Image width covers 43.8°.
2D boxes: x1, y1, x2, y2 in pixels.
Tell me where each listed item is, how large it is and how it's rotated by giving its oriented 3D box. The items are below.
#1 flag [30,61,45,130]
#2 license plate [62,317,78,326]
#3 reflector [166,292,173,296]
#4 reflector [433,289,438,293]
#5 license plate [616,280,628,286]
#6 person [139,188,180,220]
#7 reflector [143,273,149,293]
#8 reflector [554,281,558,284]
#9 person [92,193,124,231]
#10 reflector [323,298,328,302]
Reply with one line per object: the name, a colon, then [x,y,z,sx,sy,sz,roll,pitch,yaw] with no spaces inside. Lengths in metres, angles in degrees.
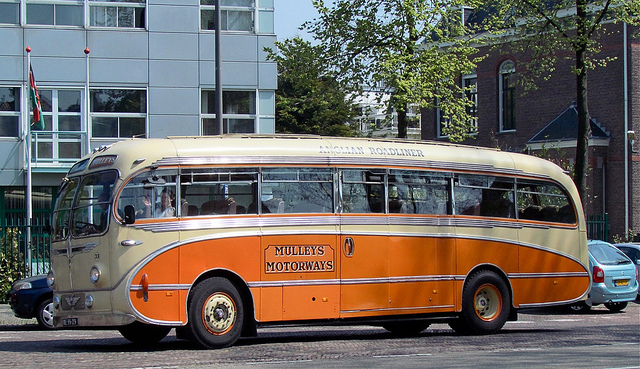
flag: [-12.635,-3.960,35.743,0.546,2.987,2.197,-2,0,-19]
license plate: [-7.204,3.971,23.075,0.604,0.252,0.030,-2,0,28]
reflector: [-4.275,3.122,22.758,0.176,0.103,0.017,-2,1,-8]
reflector: [3.620,3.358,25.054,0.115,0.088,0.088,0,-2,-9]
license plate: [11.361,3.692,30.097,0.540,0.136,0.043,-2,1,-22]
person: [-4.565,0.730,23.193,1.260,1.006,0.506,3,-18,18]
reflector: [-4.916,2.794,22.641,0.162,0.510,0.073,-2,1,-14]
reflector: [7.865,3.272,26.661,0.075,0.073,0.018,-6,-11,-2]
person: [-6.243,0.792,22.963,0.515,1.050,0.247,-2,1,39]
reflector: [0.173,3.451,23.880,0.129,0.094,0.074,1,-10,-11]
